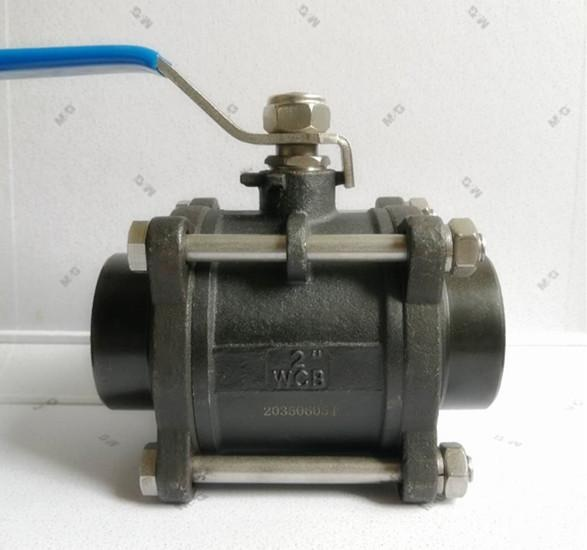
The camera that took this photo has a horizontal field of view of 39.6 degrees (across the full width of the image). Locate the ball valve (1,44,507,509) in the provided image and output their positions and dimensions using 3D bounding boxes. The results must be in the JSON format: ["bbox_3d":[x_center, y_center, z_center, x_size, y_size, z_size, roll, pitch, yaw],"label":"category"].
[{"bbox_3d":[0.002,-0.015,1.997,1.064,1.154,0.696,0,2,-2],"label":"ball valve"}]
